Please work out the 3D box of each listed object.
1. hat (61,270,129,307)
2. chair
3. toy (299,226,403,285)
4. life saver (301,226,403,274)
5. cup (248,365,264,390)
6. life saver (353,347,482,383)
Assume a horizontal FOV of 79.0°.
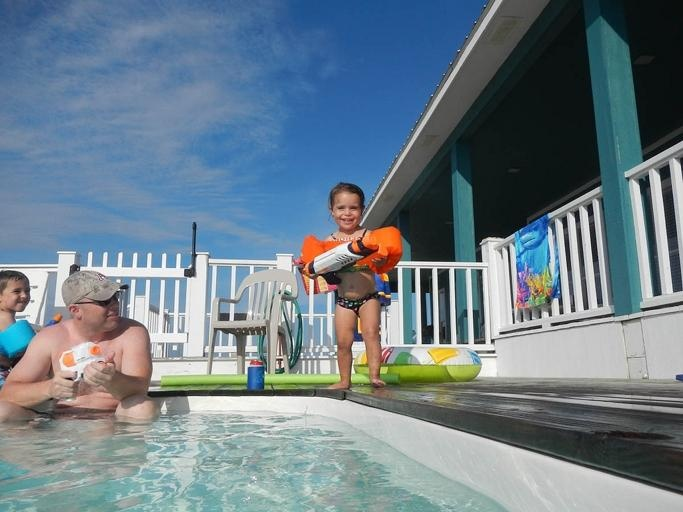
[{"bbox_3d":[-1.266,0.142,2.126,0.326,0.164,0.229,-6,9,13],"label":"hat"},{"bbox_3d":[-0.968,0.627,4.684,0.901,1.346,0.806,1,-3,17],"label":"chair"},{"bbox_3d":[-0.009,0.052,3.001,0.335,0.484,0.872,-7,-10,-43],"label":"toy"},{"bbox_3d":[0.044,-0.040,2.851,0.712,0.328,0.432,-2,-8,5],"label":"life saver"},{"bbox_3d":[-0.573,0.807,2.788,0.109,0.149,0.232,0,-8,-13],"label":"cup"},{"bbox_3d":[0.782,1.142,4.315,1.360,0.364,1.356,10,-17,-38],"label":"life saver"}]
